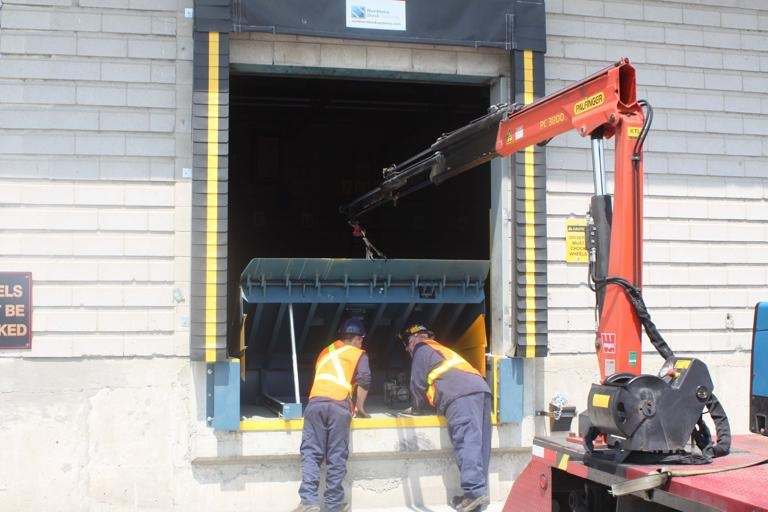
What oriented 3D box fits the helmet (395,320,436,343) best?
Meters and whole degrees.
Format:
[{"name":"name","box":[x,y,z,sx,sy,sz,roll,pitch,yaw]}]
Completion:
[{"name":"helmet","box":[0.392,1.047,18.733,0.378,0.161,0.272,-25,-9,41]}]
